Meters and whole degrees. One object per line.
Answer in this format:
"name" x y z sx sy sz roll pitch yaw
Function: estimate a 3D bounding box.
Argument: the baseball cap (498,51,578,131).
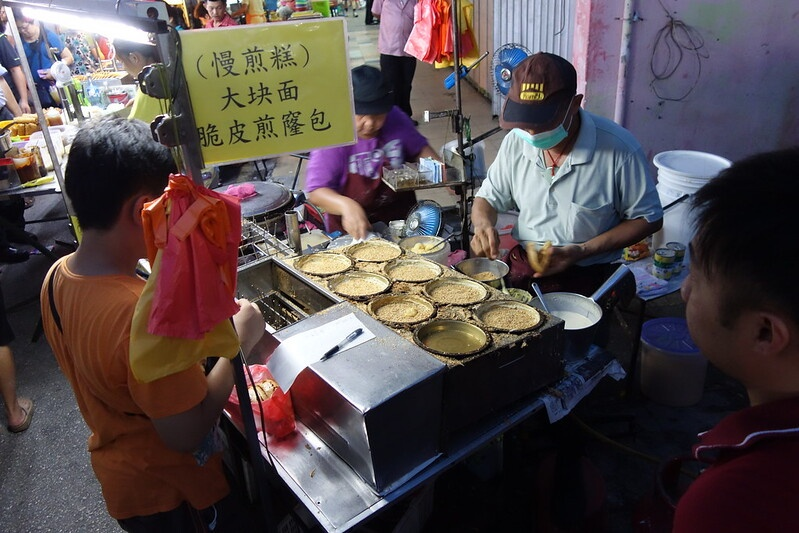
"baseball cap" 0.834 -1.025 2.988 0.370 0.230 0.543 20 61 26

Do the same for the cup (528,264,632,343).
"cup" 1.160 0.116 2.990 0.673 0.264 0.416 -34 35 -21

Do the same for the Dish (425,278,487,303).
"Dish" 0.298 0.134 2.524 0.171 0.019 0.167 -15 31 -20

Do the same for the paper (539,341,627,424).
"paper" 0.901 0.587 2.453 0.465 0.124 0.309 -37 38 -7

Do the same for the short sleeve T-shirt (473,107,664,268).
"short sleeve T-shirt" 1.152 -0.503 3.410 0.724 1.065 1.404 -35 37 -31

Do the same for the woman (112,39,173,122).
"woman" -2.213 -1.686 4.411 0.337 0.669 0.533 -18 30 -3
